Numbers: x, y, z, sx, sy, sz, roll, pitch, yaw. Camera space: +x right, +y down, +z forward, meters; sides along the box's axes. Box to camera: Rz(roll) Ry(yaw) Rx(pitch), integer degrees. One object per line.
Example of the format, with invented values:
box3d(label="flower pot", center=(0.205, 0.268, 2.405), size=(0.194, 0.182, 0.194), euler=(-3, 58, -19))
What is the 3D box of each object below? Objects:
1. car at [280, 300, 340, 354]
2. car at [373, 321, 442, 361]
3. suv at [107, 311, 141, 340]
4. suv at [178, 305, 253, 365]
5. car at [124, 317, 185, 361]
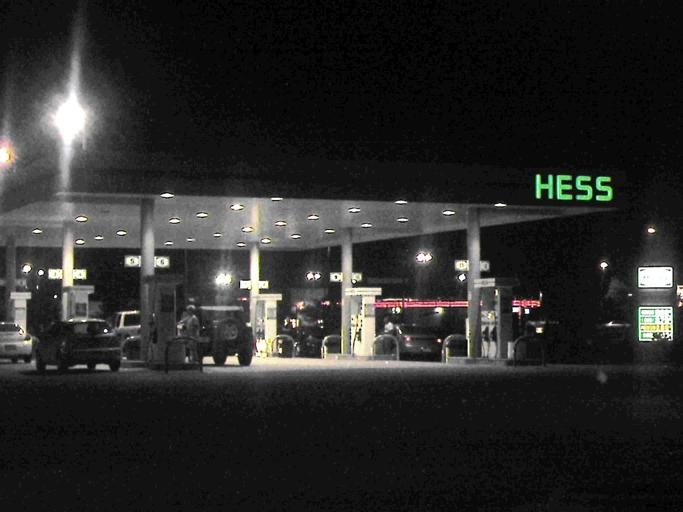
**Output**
box3d(label="car", center=(-1.741, 4.859, 45.860), size=(2.786, 2.959, 5.257), euler=(2, -1, -1))
box3d(label="car", center=(3.027, 3.951, 35.191), size=(3.112, 1.631, 4.666), euler=(1, -4, 6))
box3d(label="suv", center=(-8.787, 2.810, 31.331), size=(0.977, 0.869, 2.262), euler=(0, 3, -31))
box3d(label="suv", center=(-4.568, 2.986, 29.555), size=(1.864, 2.090, 3.320), euler=(0, -8, -10))
box3d(label="car", center=(-7.438, 3.284, 30.160), size=(2.851, 1.362, 1.529), euler=(1, -6, -16))
